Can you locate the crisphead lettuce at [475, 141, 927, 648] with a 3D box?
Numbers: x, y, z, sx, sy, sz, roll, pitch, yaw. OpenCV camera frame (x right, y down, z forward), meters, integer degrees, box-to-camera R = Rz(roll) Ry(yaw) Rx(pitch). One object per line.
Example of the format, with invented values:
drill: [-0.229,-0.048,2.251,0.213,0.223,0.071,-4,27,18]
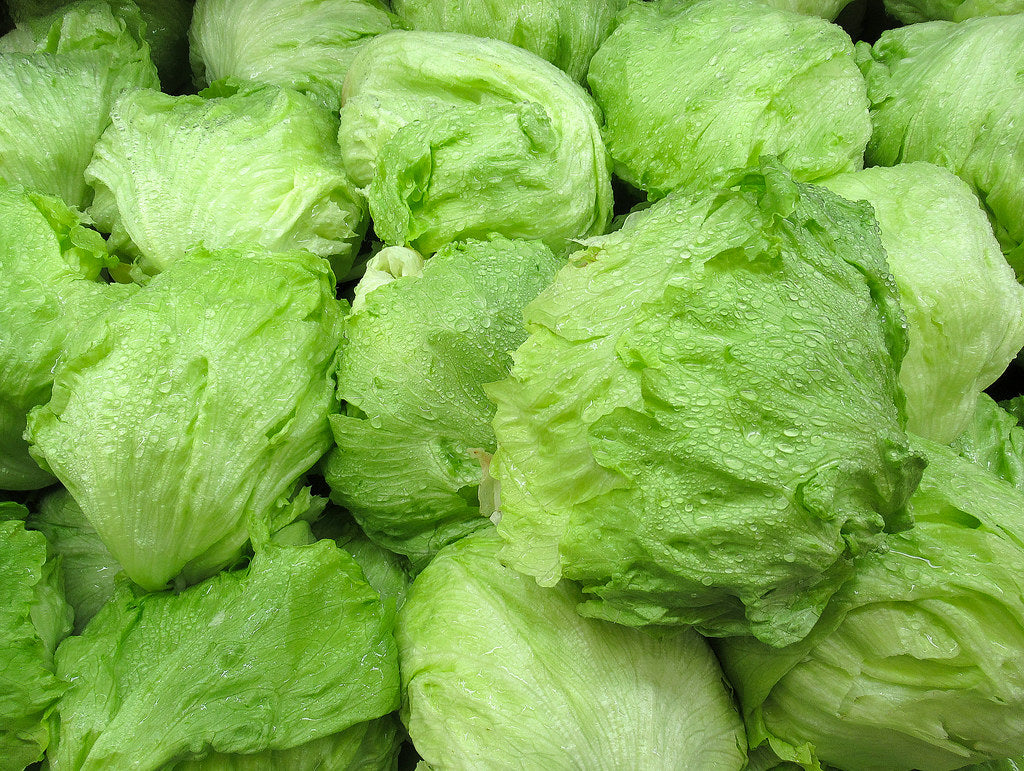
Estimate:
crisphead lettuce: [0.407,0.045,2.015,0.932,0.578,0.903,-7,53,0]

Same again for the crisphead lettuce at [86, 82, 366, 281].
crisphead lettuce: [-0.764,-0.630,2.511,0.593,0.402,0.534,12,11,-18]

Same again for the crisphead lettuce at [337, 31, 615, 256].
crisphead lettuce: [-0.120,-0.605,2.475,0.563,0.344,0.655,-37,82,-14]
